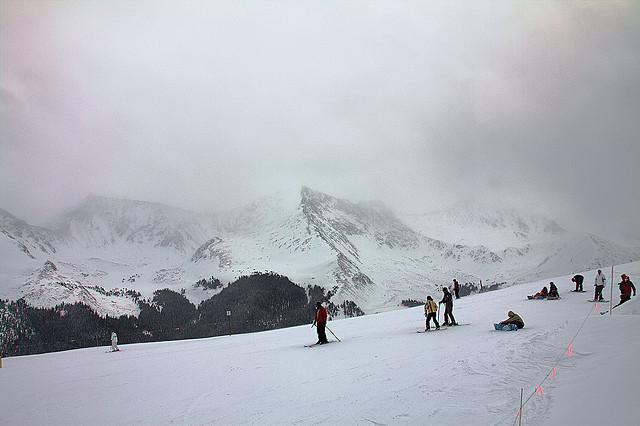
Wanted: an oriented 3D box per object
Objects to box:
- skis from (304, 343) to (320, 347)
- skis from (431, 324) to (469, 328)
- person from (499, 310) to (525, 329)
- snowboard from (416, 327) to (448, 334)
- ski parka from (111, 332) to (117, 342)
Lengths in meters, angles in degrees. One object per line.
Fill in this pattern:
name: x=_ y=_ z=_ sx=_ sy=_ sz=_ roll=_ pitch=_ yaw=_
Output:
skis: x=-0.648 y=10.771 z=40.436 sx=1.126 sy=0.151 sz=0.150 roll=-25 pitch=-23 yaw=33
skis: x=10.807 y=9.219 z=40.539 sx=2.202 sy=0.127 sz=0.249 roll=-12 pitch=5 yaw=12
person: x=14.330 y=7.802 z=36.425 sx=1.366 sy=1.193 sz=1.395 roll=-6 pitch=-6 yaw=29
snowboard: x=9.075 y=9.397 z=39.605 sx=3.008 sy=0.271 sz=0.419 roll=-2 pitch=-12 yaw=-14
ski parka: x=-20.904 y=12.559 z=50.038 sx=0.773 sy=1.144 sz=0.390 roll=6 pitch=-2 yaw=21
